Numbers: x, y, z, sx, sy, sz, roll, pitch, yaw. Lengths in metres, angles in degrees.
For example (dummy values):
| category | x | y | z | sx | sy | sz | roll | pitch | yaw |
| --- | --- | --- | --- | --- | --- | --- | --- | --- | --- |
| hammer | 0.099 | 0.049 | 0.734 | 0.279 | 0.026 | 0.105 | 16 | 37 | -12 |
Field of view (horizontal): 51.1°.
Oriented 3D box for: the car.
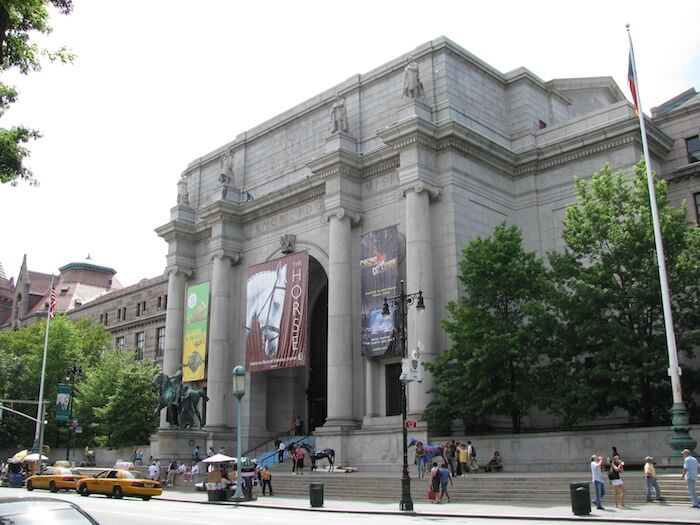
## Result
| category | x | y | z | sx | sy | sz | roll | pitch | yaw |
| --- | --- | --- | --- | --- | --- | --- | --- | --- | --- |
| car | -14.277 | 12.129 | 40.303 | 9.375 | 1.960 | 3.134 | -4 | -24 | 26 |

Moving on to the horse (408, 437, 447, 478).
| category | x | y | z | sx | sy | sz | roll | pitch | yaw |
| --- | --- | --- | --- | --- | --- | --- | --- | --- | --- |
| horse | 4.138 | 10.378 | 38.843 | 0.601 | 1.957 | 2.770 | -1 | 0 | -42 |

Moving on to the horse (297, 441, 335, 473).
| category | x | y | z | sx | sy | sz | roll | pitch | yaw |
| --- | --- | --- | --- | --- | --- | --- | --- | --- | --- |
| horse | -1.994 | 11.708 | 44.041 | 2.270 | 1.723 | 2.409 | 0 | -20 | -3 |

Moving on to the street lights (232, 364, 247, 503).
| category | x | y | z | sx | sy | sz | roll | pitch | yaw |
| --- | --- | --- | --- | --- | --- | --- | --- | --- | --- |
| street lights | -6.480 | 10.176 | 43.389 | 0.975 | 8.879 | 0.724 | -11 | -16 | 44 |

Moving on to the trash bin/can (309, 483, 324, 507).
| category | x | y | z | sx | sy | sz | roll | pitch | yaw |
| --- | --- | --- | --- | --- | --- | --- | --- | --- | --- |
| trash bin/can | -1.456 | 10.295 | 32.580 | 0.541 | 1.028 | 0.548 | 3 | -19 | -11 |

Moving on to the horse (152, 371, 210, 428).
| category | x | y | z | sx | sy | sz | roll | pitch | yaw |
| --- | --- | --- | --- | --- | --- | --- | --- | --- | --- |
| horse | -11.660 | 9.501 | 51.244 | 3.888 | 4.177 | 1.764 | 3 | -2 | -25 |

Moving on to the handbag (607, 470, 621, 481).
| category | x | y | z | sx | sy | sz | roll | pitch | yaw |
| --- | --- | --- | --- | --- | --- | --- | --- | --- | --- |
| handbag | 10.492 | 8.440 | 29.062 | 0.431 | 0.453 | 0.324 | -2 | -31 | 12 |
